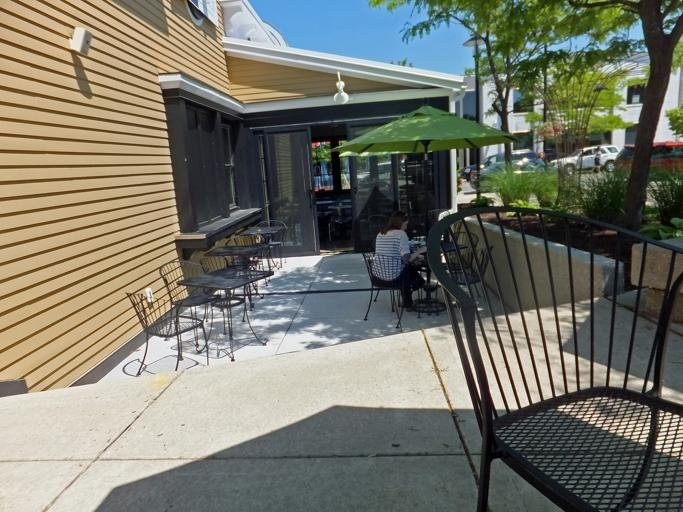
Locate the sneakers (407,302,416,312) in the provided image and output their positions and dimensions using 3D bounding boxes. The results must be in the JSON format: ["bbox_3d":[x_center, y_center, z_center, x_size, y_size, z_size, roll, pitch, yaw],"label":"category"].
[{"bbox_3d":[0.872,0.647,6.185,0.088,0.122,0.136,-2,4,-17],"label":"sneakers"}]

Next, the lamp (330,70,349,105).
[{"bbox_3d":[-0.010,-3.177,9.374,0.297,0.589,0.851,-5,12,2],"label":"lamp"}]

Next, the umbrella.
[{"bbox_3d":[0.929,-0.881,6.382,2.072,1.352,2.043,6,15,23],"label":"umbrella"}]
